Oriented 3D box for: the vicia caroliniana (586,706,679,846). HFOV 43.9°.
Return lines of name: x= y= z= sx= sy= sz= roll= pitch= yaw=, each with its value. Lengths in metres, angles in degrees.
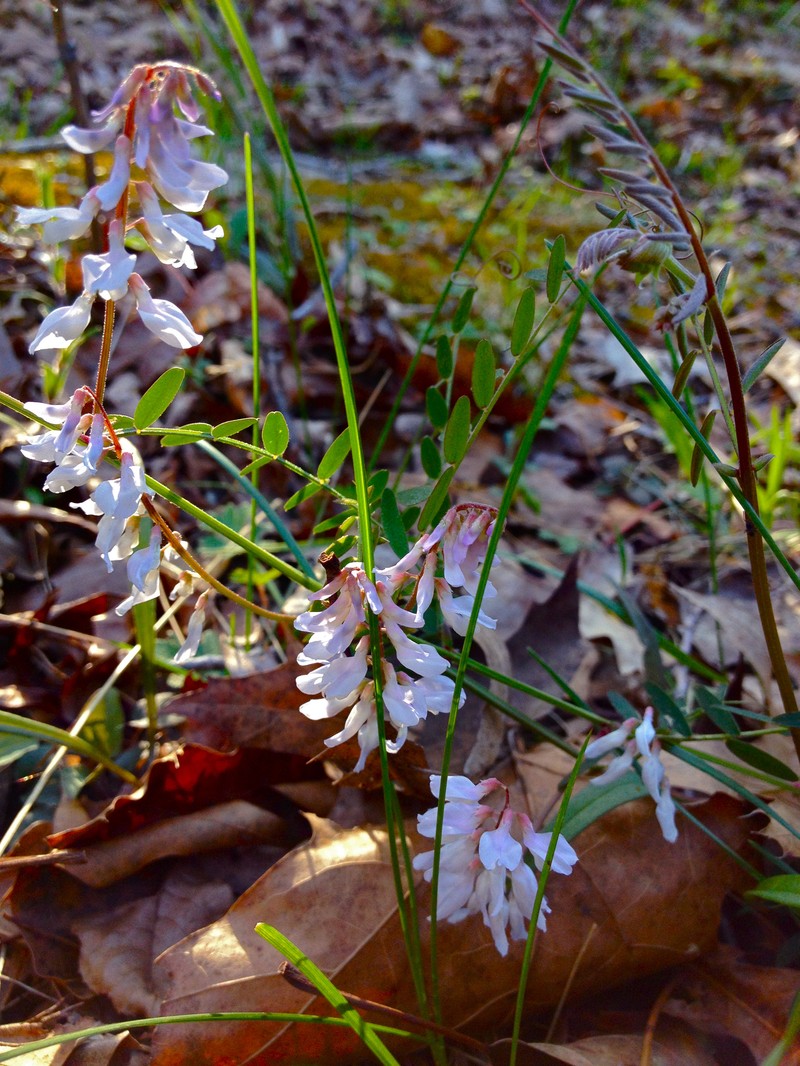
vicia caroliniana: x=0.290 y=0.280 z=1.187 sx=0.126 sy=0.155 sz=0.065 roll=-5 pitch=-3 yaw=34
